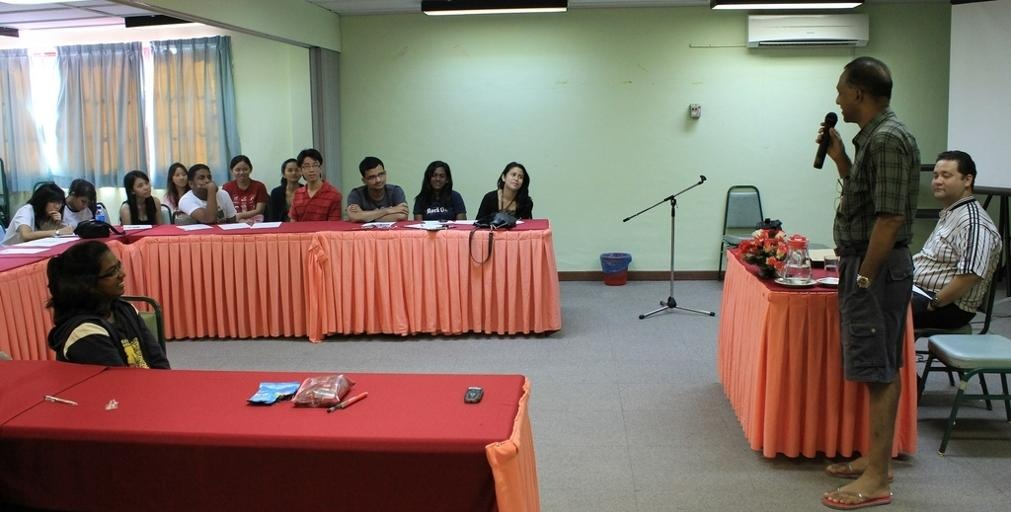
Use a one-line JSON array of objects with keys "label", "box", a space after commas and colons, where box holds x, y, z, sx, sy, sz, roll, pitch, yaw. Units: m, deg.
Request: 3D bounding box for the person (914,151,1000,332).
[{"label": "person", "box": [4.202, -0.131, 6.344, 0.699, 1.642, 0.787, 4, 14, 25]}]

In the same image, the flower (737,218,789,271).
[{"label": "flower", "box": [2.387, -0.108, 6.124, 0.490, 0.430, 0.463, -2, 4, -21]}]

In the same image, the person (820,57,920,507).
[{"label": "person", "box": [2.880, 0.220, 5.429, 0.634, 3.539, 0.926, 3, 14, 22]}]

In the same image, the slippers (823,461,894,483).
[{"label": "slippers", "box": [2.924, 1.776, 5.721, 0.544, 0.124, 0.197, 0, 2, 8]}]

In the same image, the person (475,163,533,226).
[{"label": "person", "box": [0.030, -0.622, 8.221, 0.721, 0.914, 0.542, 9, 3, 10]}]

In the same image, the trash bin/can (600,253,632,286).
[{"label": "trash bin/can", "box": [1.568, 0.170, 9.601, 0.462, 0.357, 0.449, 2, 8, 16]}]

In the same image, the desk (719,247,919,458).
[{"label": "desk", "box": [2.940, 0.717, 6.080, 1.938, 1.101, 1.119, -1, -7, 20]}]

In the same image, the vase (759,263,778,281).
[{"label": "vase", "box": [2.261, 0.136, 5.909, 0.143, 0.086, 0.133, 0, 2, 5]}]

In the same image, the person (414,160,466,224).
[{"label": "person", "box": [-0.814, -0.775, 8.135, 0.597, 0.696, 0.265, -4, 13, -10]}]

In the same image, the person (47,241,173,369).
[{"label": "person", "box": [-3.096, 0.410, 5.189, 0.751, 1.031, 0.371, -2, 13, 1]}]

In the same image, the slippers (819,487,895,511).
[{"label": "slippers", "box": [2.813, 1.949, 5.462, 0.469, 0.095, 0.203, 0, 0, 4]}]

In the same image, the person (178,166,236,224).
[{"label": "person", "box": [-3.738, -0.783, 8.513, 0.737, 0.713, 0.557, -3, 12, -6]}]

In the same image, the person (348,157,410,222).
[{"label": "person", "box": [-1.537, -0.651, 8.137, 0.762, 0.949, 0.591, -7, 29, -17]}]

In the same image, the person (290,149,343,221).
[{"label": "person", "box": [-2.341, -0.861, 8.252, 0.656, 0.840, 0.486, -2, 13, 0]}]
